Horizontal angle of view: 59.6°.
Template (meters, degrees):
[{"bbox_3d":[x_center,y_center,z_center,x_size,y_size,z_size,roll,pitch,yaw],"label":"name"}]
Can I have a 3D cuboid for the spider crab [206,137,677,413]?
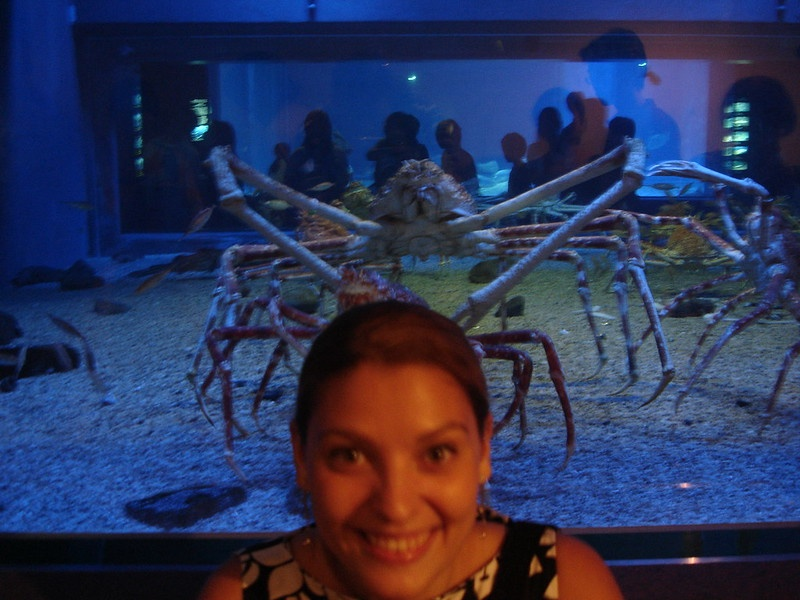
[{"bbox_3d":[0.190,-0.073,2.136,1.622,0.545,0.769,0,-15,4],"label":"spider crab"}]
